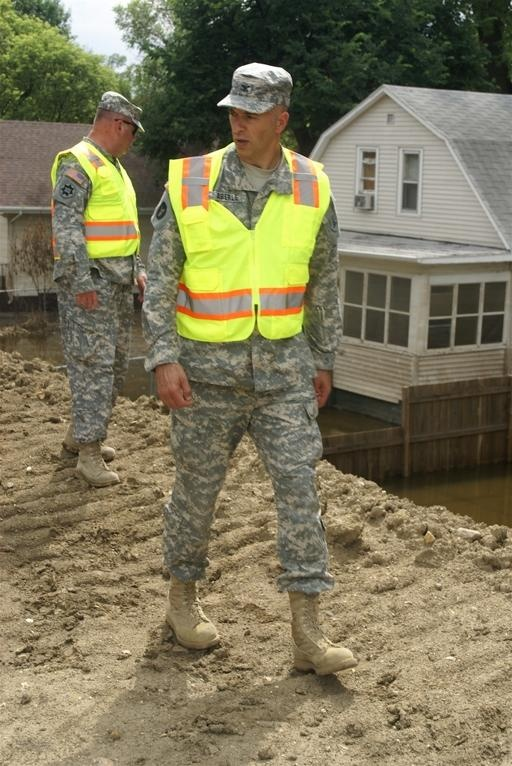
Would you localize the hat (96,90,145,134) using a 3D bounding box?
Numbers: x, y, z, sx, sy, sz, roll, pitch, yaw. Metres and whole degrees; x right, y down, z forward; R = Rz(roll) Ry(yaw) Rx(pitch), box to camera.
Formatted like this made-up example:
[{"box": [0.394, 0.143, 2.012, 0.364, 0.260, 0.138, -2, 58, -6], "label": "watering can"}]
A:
[{"box": [-0.746, -1.567, 4.872, 0.365, 0.158, 0.215, 8, 16, -40], "label": "hat"}]

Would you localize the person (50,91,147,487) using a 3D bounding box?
[{"box": [-0.903, -0.558, 4.799, 0.536, 2.298, 0.759, 0, 6, -12], "label": "person"}]

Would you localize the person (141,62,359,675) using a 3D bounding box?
[{"box": [-0.030, -0.019, 3.012, 0.757, 2.165, 0.554, 1, 6, -7], "label": "person"}]

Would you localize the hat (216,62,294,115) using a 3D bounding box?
[{"box": [-0.007, -0.974, 2.837, 0.270, 0.131, 0.195, -12, 21, -43], "label": "hat"}]

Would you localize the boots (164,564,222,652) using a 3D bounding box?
[{"box": [-0.348, 0.902, 3.351, 0.153, 0.236, 0.374, -7, 16, -44], "label": "boots"}]

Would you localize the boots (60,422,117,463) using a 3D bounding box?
[{"box": [-1.018, 0.361, 5.006, 0.325, 0.188, 0.103, 16, 50, 6], "label": "boots"}]

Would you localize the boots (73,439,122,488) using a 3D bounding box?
[{"box": [-0.862, 0.464, 4.844, 0.386, 0.222, 0.146, 15, 20, 37], "label": "boots"}]
